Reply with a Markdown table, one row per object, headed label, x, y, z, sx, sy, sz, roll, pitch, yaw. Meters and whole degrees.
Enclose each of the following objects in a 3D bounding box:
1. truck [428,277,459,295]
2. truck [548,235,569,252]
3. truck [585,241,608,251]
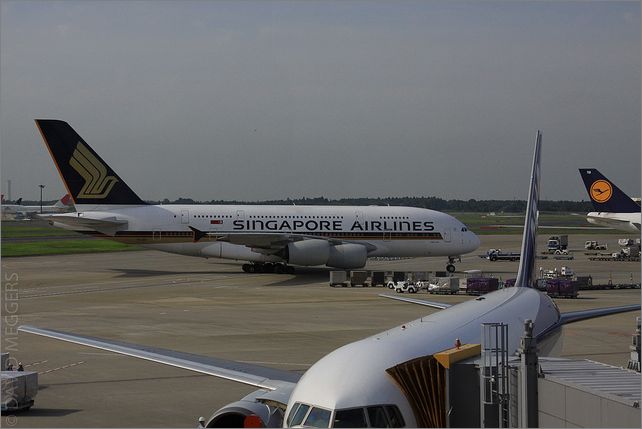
| label | x | y | z | sx | sy | sz | roll | pitch | yaw |
| --- | --- | --- | --- | --- | --- | --- | --- | --- | --- |
| truck | 7.957 | 4.623 | 52.345 | 1.764 | 0.805 | 1.061 | 2 | 0 | 36 |
| truck | 26.603 | 3.278 | 91.003 | 1.781 | 2.144 | 2.698 | 0 | -2 | -36 |
| truck | 32.283 | 3.754 | 93.771 | 2.669 | 0.962 | 1.614 | 2 | -3 | 1 |
